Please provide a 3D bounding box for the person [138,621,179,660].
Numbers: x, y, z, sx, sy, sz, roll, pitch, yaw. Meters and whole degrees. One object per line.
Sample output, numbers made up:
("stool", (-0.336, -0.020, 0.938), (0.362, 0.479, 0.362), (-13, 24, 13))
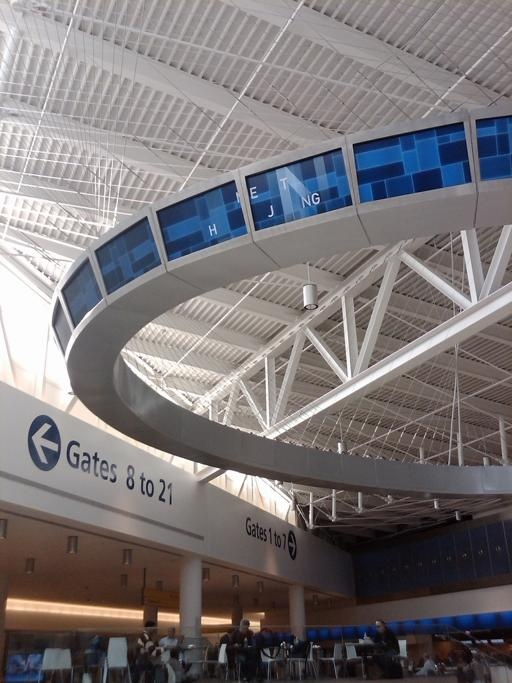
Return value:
("person", (-2.074, 6.352, 11.652), (0.607, 0.306, 0.848), (-9, -40, 39))
